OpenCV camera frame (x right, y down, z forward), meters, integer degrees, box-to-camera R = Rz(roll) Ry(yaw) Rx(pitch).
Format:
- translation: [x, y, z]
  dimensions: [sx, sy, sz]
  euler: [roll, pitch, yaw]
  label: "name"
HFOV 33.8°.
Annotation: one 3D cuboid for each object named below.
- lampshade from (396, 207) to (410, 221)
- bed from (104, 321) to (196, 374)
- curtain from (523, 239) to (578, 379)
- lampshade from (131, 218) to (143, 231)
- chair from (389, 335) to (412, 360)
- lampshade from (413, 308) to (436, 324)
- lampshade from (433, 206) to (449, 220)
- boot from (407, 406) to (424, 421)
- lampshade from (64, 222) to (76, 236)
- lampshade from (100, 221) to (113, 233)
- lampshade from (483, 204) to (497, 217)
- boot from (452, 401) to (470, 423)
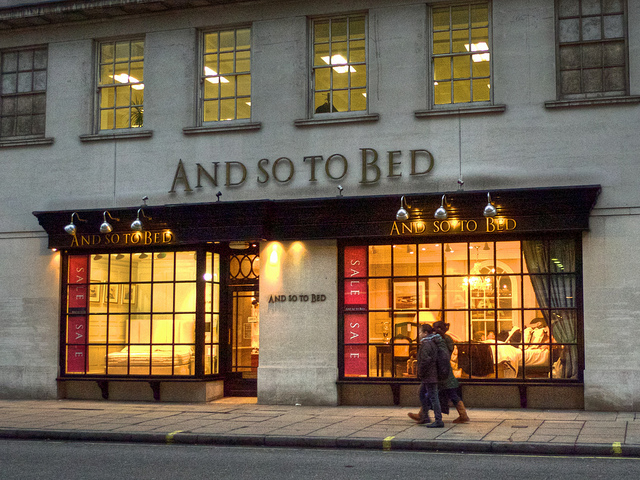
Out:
- translation: [1.881, -0.605, 24.677]
  dimensions: [0.294, 0.249, 0.288]
  euler: [-9, 11, -43]
  label: "lampshade"
- translation: [-4.261, 2.727, 26.924]
  dimensions: [2.241, 1.283, 1.390]
  euler: [-1, -5, 19]
  label: "bed"
- translation: [5.477, 1.623, 24.773]
  dimensions: [1.080, 3.299, 0.326]
  euler: [-2, 0, 9]
  label: "curtain"
- translation: [-4.523, -0.398, 26.287]
  dimensions: [0.265, 0.236, 0.260]
  euler: [-6, -10, 41]
  label: "lampshade"
- translation: [1.975, 2.627, 25.870]
  dimensions: [0.589, 0.633, 0.557]
  euler: [0, -4, 17]
  label: "chair"
- translation: [2.516, 1.860, 25.472]
  dimensions: [0.367, 0.317, 0.350]
  euler: [-2, -3, 19]
  label: "lampshade"
- translation: [2.830, -0.659, 24.706]
  dimensions: [0.168, 0.304, 0.249]
  euler: [21, -22, -25]
  label: "lampshade"
- translation: [2.050, 3.746, 22.726]
  dimensions: [0.273, 0.287, 0.707]
  euler: [-2, 0, -2]
  label: "boot"
- translation: [-6.366, -0.295, 26.835]
  dimensions: [0.283, 0.293, 0.734]
  euler: [-2, 0, -13]
  label: "lampshade"
- translation: [-5.331, -0.320, 26.338]
  dimensions: [0.308, 0.267, 0.290]
  euler: [1, 8, 13]
  label: "lampshade"
- translation: [3.853, -0.682, 24.221]
  dimensions: [0.296, 0.266, 0.274]
  euler: [-11, 13, -40]
  label: "lampshade"
- translation: [3.003, 3.688, 22.611]
  dimensions: [0.333, 0.447, 0.265]
  euler: [-2, 0, 6]
  label: "boot"
